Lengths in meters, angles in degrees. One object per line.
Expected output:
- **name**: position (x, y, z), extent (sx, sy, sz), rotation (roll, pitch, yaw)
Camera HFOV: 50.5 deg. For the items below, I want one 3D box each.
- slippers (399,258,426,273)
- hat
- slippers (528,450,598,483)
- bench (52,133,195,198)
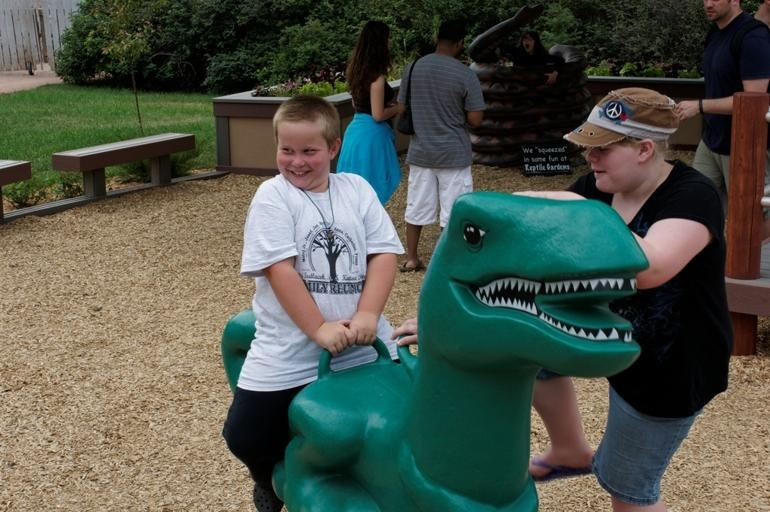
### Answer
- **slippers**: position (0.274, 0.092, 7.540), extent (0.273, 0.102, 0.099), rotation (0, 5, -15)
- **hat**: position (1.065, -0.608, 3.599), extent (0.408, 0.184, 0.255), rotation (1, 10, 0)
- **slippers**: position (0.884, 1.086, 4.223), extent (0.392, 0.148, 0.116), rotation (-5, -25, 35)
- **bench**: position (-3.015, -1.028, 9.500), extent (0.399, 0.576, 1.749), rotation (11, 21, 30)
